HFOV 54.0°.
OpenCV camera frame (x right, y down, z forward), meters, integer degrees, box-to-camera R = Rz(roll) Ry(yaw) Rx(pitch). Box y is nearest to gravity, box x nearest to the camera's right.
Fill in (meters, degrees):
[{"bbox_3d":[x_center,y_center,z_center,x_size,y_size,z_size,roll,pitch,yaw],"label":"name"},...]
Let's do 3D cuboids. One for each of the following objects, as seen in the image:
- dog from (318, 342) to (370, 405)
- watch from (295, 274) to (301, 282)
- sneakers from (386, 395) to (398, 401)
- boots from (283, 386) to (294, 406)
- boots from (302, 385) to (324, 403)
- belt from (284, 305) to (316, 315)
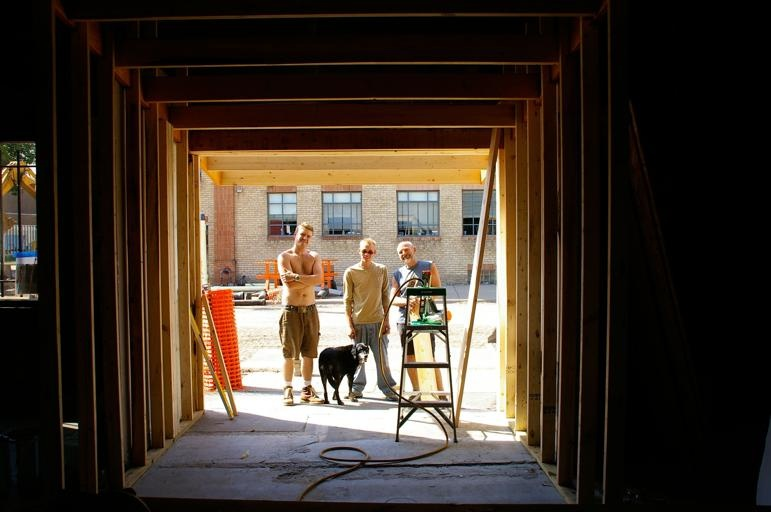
[{"bbox_3d":[-0.458,1.281,8.252,0.258,0.594,0.758,0,-1,38],"label":"dog"},{"bbox_3d":[-0.943,0.223,8.075,0.043,0.068,0.061,9,-23,-6],"label":"watch"},{"bbox_3d":[0.070,1.556,8.307,0.121,0.052,0.044,-2,2,23],"label":"sneakers"},{"bbox_3d":[-1.037,1.469,8.060,0.114,0.220,0.110,1,3,-6],"label":"boots"},{"bbox_3d":[-0.746,1.489,8.229,0.317,0.189,0.127,1,-2,-17],"label":"boots"},{"bbox_3d":[-0.897,0.568,8.170,0.393,0.095,0.125,-2,5,-40],"label":"belt"}]
